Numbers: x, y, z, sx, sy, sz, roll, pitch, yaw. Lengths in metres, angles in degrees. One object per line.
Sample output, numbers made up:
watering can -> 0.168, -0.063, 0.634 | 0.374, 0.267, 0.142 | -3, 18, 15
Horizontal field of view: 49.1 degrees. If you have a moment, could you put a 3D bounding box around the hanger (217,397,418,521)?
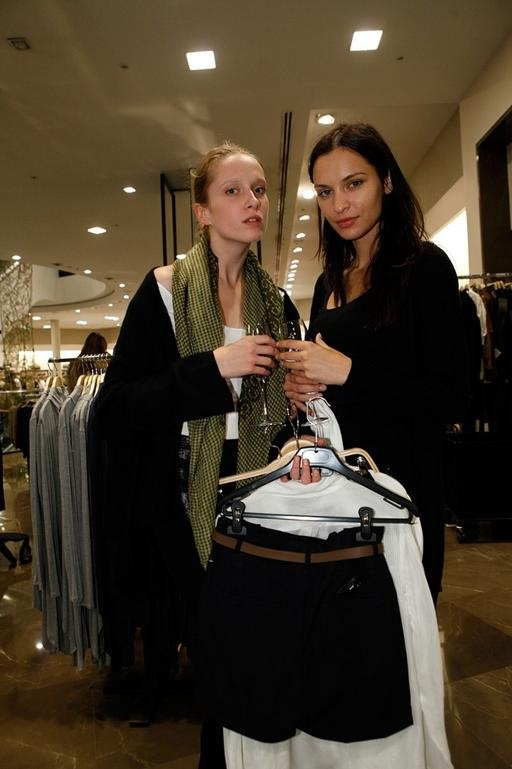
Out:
hanger -> 0.106, 0.147, 1.017 | 0.323, 0.232, 0.130 | -1, -20, 13

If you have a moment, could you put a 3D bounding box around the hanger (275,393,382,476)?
hanger -> 0.134, 0.108, 1.158 | 0.252, 0.176, 0.097 | -1, 14, 32

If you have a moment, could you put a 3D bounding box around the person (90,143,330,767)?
person -> -0.112, 0.113, 1.302 | 0.610, 1.353, 0.414 | -2, 0, 24

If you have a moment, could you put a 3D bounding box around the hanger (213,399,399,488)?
hanger -> 0.124, 0.148, 1.154 | 0.441, 0.195, 0.014 | 6, -11, -22
